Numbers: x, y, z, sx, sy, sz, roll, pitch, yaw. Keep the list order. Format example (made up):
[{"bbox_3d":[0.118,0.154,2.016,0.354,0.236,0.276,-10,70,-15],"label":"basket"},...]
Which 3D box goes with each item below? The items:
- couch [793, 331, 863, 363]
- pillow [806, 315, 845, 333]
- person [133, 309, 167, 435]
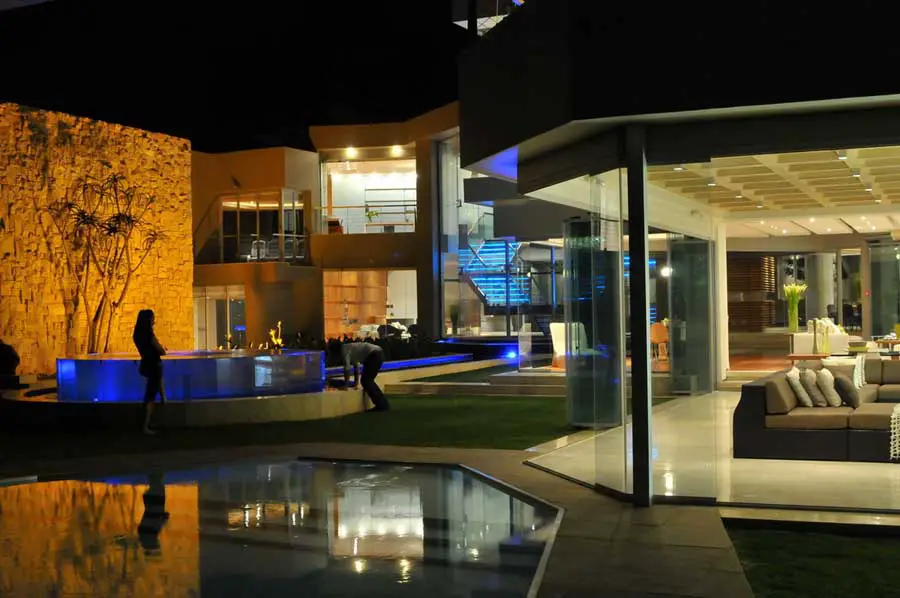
[{"bbox_3d":[9.003,0.877,18.866,1.458,1.284,0.924,-1,-6,18],"label":"couch"},{"bbox_3d":[9.553,0.695,20.031,0.949,0.317,1.029,1,-1,2],"label":"pillow"},{"bbox_3d":[-5.129,1.227,13.304,0.493,2.102,1.160,1,-5,-19],"label":"person"}]
